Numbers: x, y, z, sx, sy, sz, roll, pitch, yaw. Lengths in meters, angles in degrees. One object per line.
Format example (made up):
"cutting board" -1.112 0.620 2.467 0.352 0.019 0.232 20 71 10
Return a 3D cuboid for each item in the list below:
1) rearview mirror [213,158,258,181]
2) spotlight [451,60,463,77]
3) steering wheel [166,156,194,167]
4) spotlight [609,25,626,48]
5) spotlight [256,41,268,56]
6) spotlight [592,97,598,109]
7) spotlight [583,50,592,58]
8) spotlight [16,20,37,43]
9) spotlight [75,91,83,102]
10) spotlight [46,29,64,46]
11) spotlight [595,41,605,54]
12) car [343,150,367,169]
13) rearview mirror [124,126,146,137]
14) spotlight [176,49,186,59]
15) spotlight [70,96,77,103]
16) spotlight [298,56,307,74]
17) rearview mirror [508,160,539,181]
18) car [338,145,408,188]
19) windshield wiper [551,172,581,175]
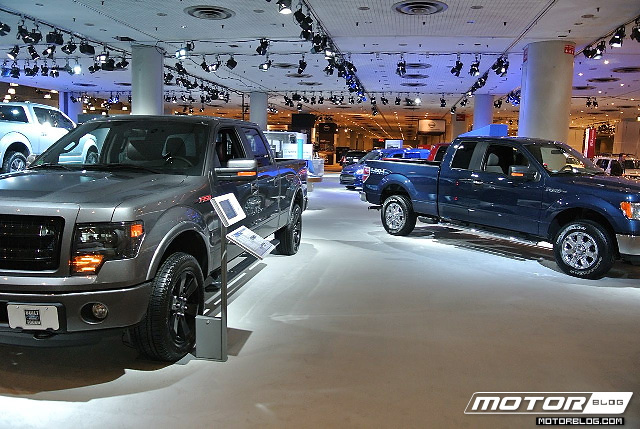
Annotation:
"rearview mirror" -0.910 -0.474 3.842 0.570 0.257 0.227 8 14 33
"spotlight" 6.628 -7.167 17.172 0.357 0.795 1.191 6 12 17
"steering wheel" -1.559 -0.596 3.993 0.366 0.113 0.155 6 12 26
"spotlight" 10.432 -6.227 12.415 0.320 0.653 0.991 12 15 39
"spotlight" -2.442 -7.086 15.080 0.328 0.432 0.110 17 47 -14
"spotlight" 22.424 -9.127 28.881 0.413 0.659 0.293 -1 13 -1
"spotlight" 10.722 -6.533 14.283 0.302 0.360 0.136 -4 -16 -29
"spotlight" -11.116 -6.980 13.369 0.529 0.809 0.858 -10 16 -41
"spotlight" -22.581 -11.001 33.283 0.664 0.822 0.231 10 -5 -2
"spotlight" -10.444 -7.020 13.914 0.484 0.585 0.811 -7 14 -35
"spotlight" 10.990 -6.515 13.888 0.249 0.411 0.405 10 15 35
"car" 2.388 -3.815 24.834 1.296 0.999 2.066 1 12 6
"rearview mirror" -2.321 -1.031 4.420 0.354 0.129 0.073 8 14 32
"spotlight" -5.948 -6.910 15.160 0.298 0.292 0.501 -6 13 -32
"spotlight" -22.865 -10.726 32.900 0.426 0.469 0.721 -6 13 -32
"spotlight" -0.947 -7.394 17.656 0.286 0.744 0.555 17 30 27
"rearview mirror" 3.752 -0.793 6.517 0.420 0.339 0.319 4 5 13
"car" 2.158 -2.586 18.140 2.186 1.767 4.615 1 2 25
"windshield wiper" 4.475 -0.753 6.488 0.455 0.029 0.061 1 19 2
